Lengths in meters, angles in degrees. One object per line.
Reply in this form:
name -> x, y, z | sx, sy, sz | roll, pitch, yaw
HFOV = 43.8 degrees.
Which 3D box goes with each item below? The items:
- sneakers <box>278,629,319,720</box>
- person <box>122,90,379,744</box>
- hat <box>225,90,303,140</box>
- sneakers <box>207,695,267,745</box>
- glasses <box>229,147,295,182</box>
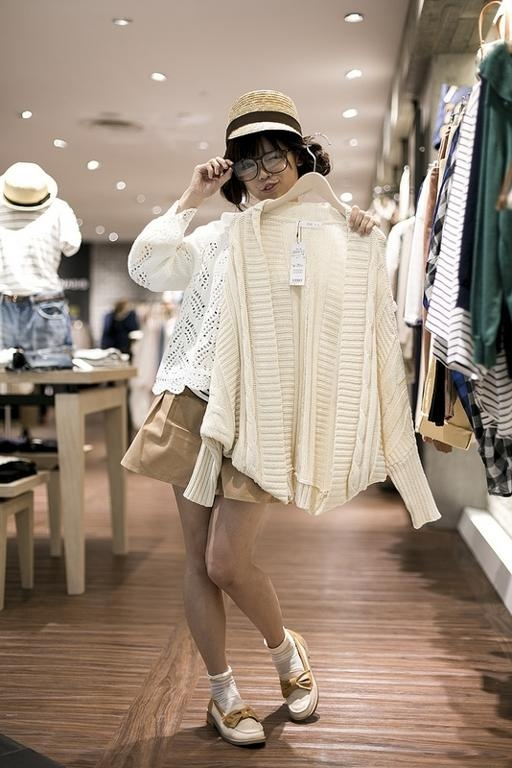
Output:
sneakers -> 0.086, 0.668, 1.495 | 0.071, 0.202, 0.066 | -32, -43, 28
person -> -0.048, 0.059, 1.428 | 0.488, 1.408, 0.342 | 0, 1, -11
hat -> 0.017, -0.598, 1.394 | 0.159, 0.145, 0.148 | 0, 1, -3
sneakers -> -0.042, 0.724, 1.378 | 0.055, 0.062, 0.148 | 0, -13, -26
glasses -> 0.008, -0.474, 1.377 | 0.121, 0.055, 0.063 | 0, 1, 1
